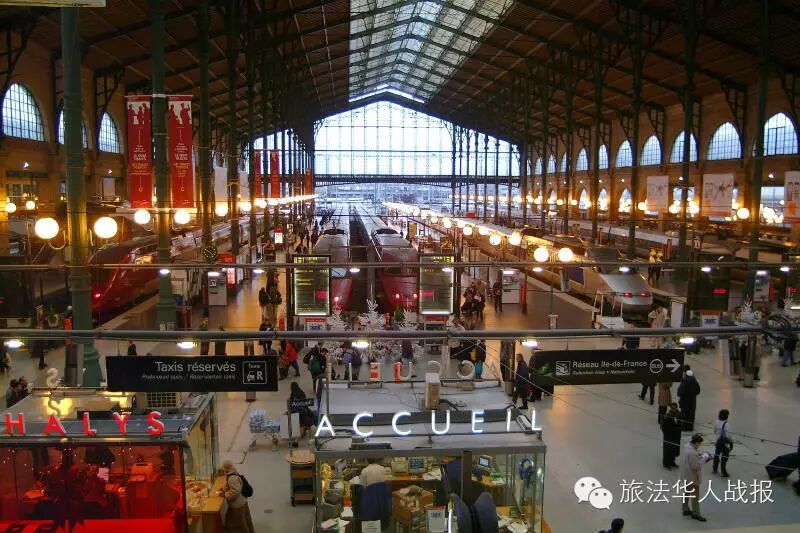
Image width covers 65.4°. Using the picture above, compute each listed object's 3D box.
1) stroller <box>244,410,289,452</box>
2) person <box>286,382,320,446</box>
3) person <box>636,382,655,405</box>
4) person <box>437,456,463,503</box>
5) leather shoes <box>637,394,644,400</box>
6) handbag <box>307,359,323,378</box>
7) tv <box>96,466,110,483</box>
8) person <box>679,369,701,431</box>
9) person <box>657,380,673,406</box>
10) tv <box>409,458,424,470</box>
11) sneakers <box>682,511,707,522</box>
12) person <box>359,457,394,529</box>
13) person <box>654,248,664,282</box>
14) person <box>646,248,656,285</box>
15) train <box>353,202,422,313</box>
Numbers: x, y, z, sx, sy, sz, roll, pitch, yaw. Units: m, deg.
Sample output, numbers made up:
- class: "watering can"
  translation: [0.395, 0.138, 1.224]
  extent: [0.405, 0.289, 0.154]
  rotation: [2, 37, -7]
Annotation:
- class: "stroller"
  translation: [-4.388, 5.148, 20.285]
  extent: [1.140, 1.184, 0.913]
  rotation: [0, 17, 0]
- class: "person"
  translation: [-3.112, 4.590, 20.199]
  extent: [0.792, 1.879, 0.818]
  rotation: [-14, 12, -36]
- class: "person"
  translation: [9.046, 4.565, 22.921]
  extent: [0.556, 0.803, 1.201]
  rotation: [6, 15, 22]
- class: "person"
  translation: [1.254, 5.479, 15.493]
  extent: [0.529, 1.287, 1.235]
  rotation: [1, 14, 5]
- class: "leather shoes"
  translation: [8.815, 4.793, 22.932]
  extent: [0.185, 0.069, 0.185]
  rotation: [-1, 8, -11]
- class: "handbag"
  translation: [-3.067, 3.729, 22.813]
  extent: [0.561, 0.878, 0.486]
  rotation: [-2, 14, -7]
- class: "tv"
  translation: [-7.625, 5.337, 16.037]
  extent: [0.390, 0.372, 0.105]
  rotation: [8, 1, -8]
- class: "person"
  translation: [9.370, 4.384, 20.390]
  extent: [0.573, 2.061, 1.042]
  rotation: [8, 16, 31]
- class: "person"
  translation: [8.844, 4.189, 20.921]
  extent: [0.421, 0.930, 0.741]
  rotation: [6, 15, 22]
- class: "tv"
  translation: [0.414, 5.059, 16.031]
  extent: [0.325, 0.304, 0.165]
  rotation: [0, 4, 1]
- class: "sneakers"
  translation: [7.997, 6.796, 17.014]
  extent: [0.609, 0.248, 0.213]
  rotation: [2, 9, 15]
- class: "person"
  translation: [-0.629, 5.844, 16.009]
  extent: [0.795, 1.825, 0.335]
  rotation: [-1, 13, -2]
- class: "person"
  translation: [15.130, -0.022, 36.578]
  extent: [0.534, 2.114, 0.295]
  rotation: [-5, 0, 10]
- class: "person"
  translation: [14.845, 0.054, 36.980]
  extent: [0.351, 2.488, 0.642]
  rotation: [3, 0, 16]
- class: "train"
  translation: [-0.640, -0.670, 39.014]
  extent: [2.049, 3.481, 20.687]
  rotation: [-1, 11, -4]
